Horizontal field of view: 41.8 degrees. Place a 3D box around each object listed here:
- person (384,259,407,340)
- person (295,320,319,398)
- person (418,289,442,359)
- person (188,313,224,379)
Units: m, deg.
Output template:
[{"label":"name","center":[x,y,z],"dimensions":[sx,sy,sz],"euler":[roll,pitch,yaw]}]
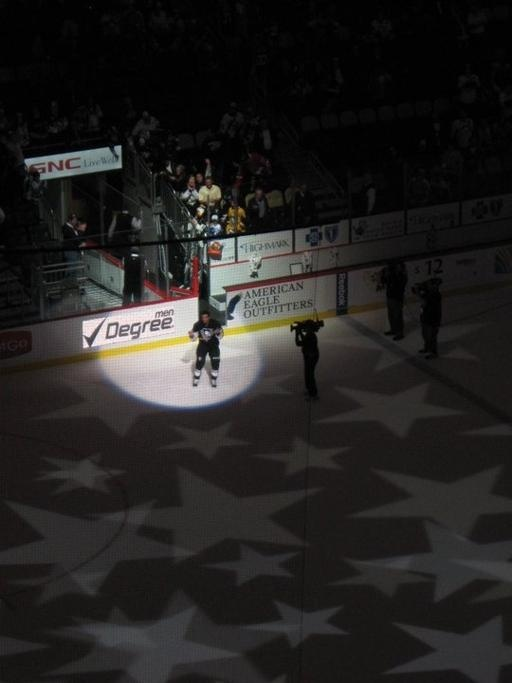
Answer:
[{"label":"person","center":[3.052,-0.909,14.876],"dimensions":[0.478,1.685,1.011],"euler":[2,7,11]},{"label":"person","center":[0.895,0.288,11.929],"dimensions":[0.412,1.405,1.158],"euler":[2,7,5]},{"label":"person","center":[3.551,-0.422,13.776],"dimensions":[0.395,1.466,0.764],"euler":[3,7,14]},{"label":"person","center":[-0.964,0.117,12.782],"dimensions":[0.595,1.422,0.525],"euler":[0,7,-5]}]
